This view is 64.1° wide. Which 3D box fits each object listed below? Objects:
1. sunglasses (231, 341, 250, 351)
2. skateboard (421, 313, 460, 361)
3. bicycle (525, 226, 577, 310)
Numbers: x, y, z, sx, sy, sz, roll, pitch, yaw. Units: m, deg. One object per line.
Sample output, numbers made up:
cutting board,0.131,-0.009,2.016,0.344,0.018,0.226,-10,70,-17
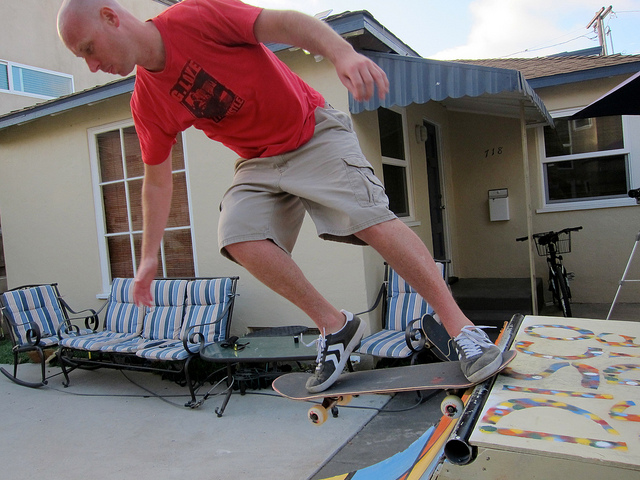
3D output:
sunglasses,-0.843,1.086,5.197,0.117,0.049,0.067,-2,19,4
skateboard,0.652,0.537,2.733,0.190,0.272,0.233,-2,7,29
bicycle,3.097,0.287,6.718,0.817,1.337,0.781,3,8,16
